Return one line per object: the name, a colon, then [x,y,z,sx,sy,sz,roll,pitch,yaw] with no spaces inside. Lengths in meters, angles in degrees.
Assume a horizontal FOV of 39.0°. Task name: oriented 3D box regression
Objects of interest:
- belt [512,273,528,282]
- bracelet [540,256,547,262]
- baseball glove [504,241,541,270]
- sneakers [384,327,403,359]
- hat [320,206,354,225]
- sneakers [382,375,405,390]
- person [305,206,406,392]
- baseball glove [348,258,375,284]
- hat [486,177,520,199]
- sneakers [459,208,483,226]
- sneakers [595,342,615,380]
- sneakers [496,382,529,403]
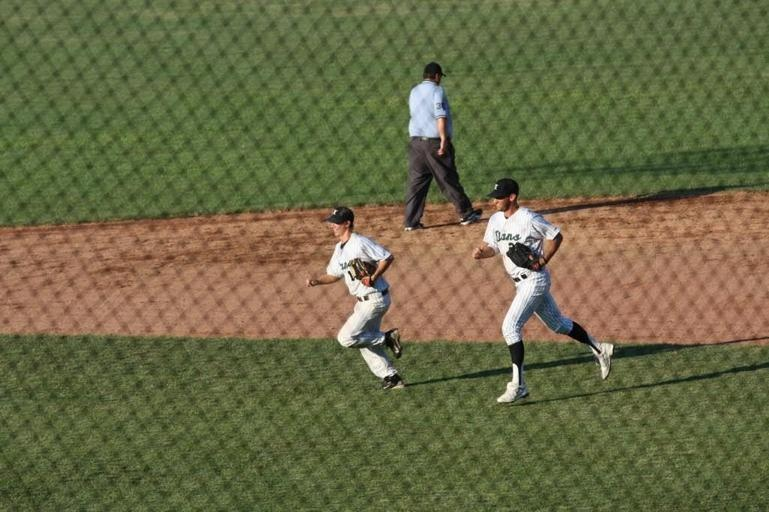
belt: [1.640,0.262,13.160,0.117,0.115,0.122,9,8,27]
bracelet: [1.909,0.040,13.038,0.070,0.048,0.066,-7,17,-23]
baseball glove: [1.689,0.021,13.100,0.376,0.156,0.269,29,-27,4]
sneakers: [0.122,1.095,13.628,0.151,0.418,0.187,-22,-13,-14]
hat: [-0.567,-0.480,13.327,0.358,0.171,0.249,3,11,-2]
sneakers: [0.105,1.571,13.349,0.351,0.217,0.115,2,12,-2]
person: [-0.254,0.533,13.327,1.014,1.896,1.379,3,-29,12]
baseball glove: [-0.251,0.182,13.230,0.245,0.151,0.346,-8,-58,14]
hat: [1.435,-0.827,13.158,0.382,0.190,0.239,-2,17,-7]
sneakers: [1.238,-0.565,16.005,0.417,0.146,0.183,-26,-29,-18]
sneakers: [2.741,1.294,13.415,0.240,0.474,0.166,5,-1,-12]
sneakers: [1.539,1.683,13.021,0.486,0.216,0.168,-13,31,-14]
